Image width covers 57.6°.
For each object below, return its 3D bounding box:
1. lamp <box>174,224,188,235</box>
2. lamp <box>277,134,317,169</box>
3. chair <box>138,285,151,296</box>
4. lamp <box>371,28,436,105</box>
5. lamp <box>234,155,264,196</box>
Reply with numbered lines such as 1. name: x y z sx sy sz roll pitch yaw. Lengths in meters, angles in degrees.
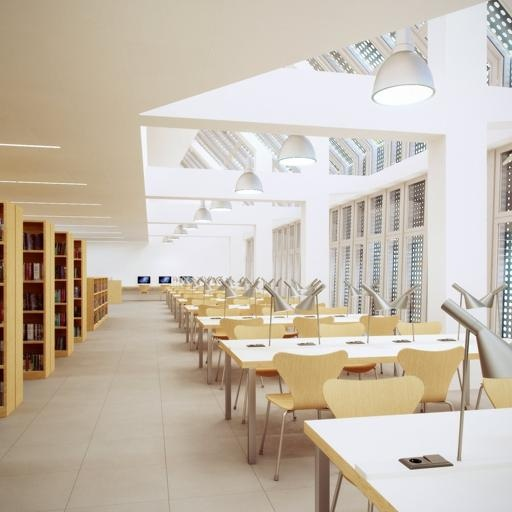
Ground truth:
1. lamp: -2.395 -0.816 14.941 0.293 0.262 0.300 5 -6 -38
2. lamp: 0.443 -1.191 5.122 0.428 0.329 0.412 -2 -1 -10
3. chair: -5.238 1.580 21.763 0.390 0.481 0.437 0 -1 -13
4. lamp: 1.014 -1.316 3.198 0.353 0.503 0.399 0 -3 19
5. lamp: -0.098 -1.150 6.615 0.381 0.517 0.395 -1 4 -40
